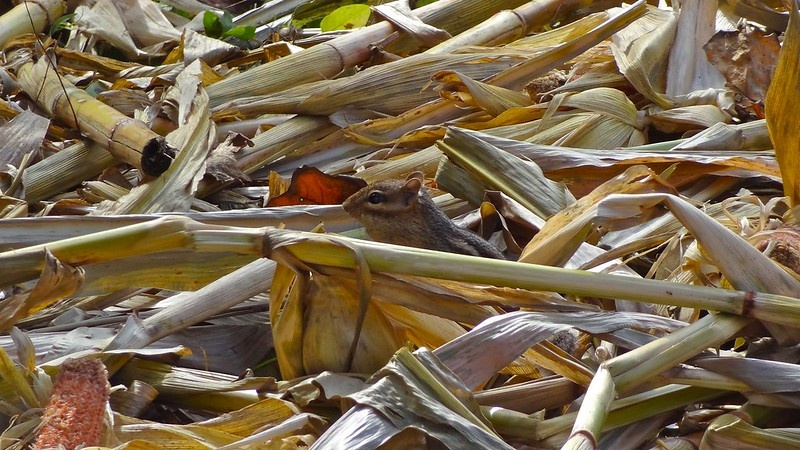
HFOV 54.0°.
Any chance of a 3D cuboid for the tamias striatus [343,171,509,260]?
[{"bbox_3d":[0.127,-0.013,3.097,0.597,0.369,0.319,10,50,26],"label":"tamias striatus"}]
